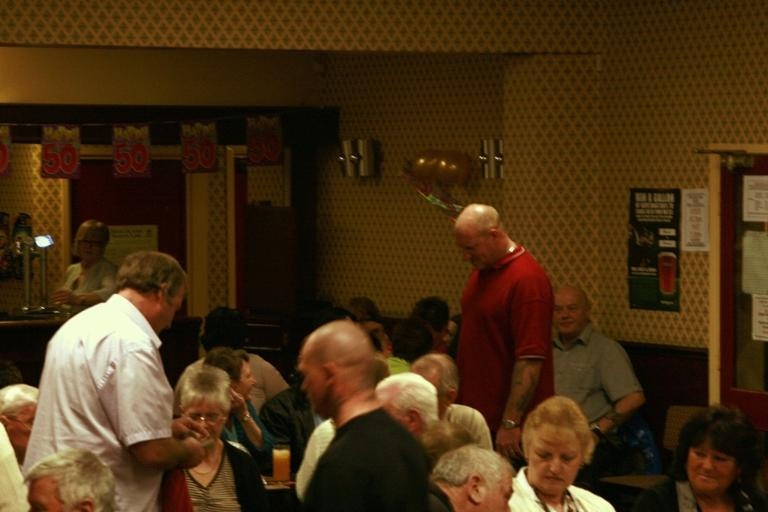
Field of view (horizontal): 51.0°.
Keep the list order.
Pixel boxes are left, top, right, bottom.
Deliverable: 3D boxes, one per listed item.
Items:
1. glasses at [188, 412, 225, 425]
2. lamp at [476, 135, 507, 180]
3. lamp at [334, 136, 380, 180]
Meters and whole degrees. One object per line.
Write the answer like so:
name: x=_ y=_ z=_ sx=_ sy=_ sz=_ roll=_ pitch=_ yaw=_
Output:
glasses: x=-0.991 y=0.894 z=4.436 sx=0.097 sy=0.042 sz=0.111 roll=5 pitch=3 yaw=-6
lamp: x=0.920 y=-0.863 z=7.149 sx=0.240 sy=0.342 sz=0.246 roll=0 pitch=6 yaw=13
lamp: x=-0.232 y=-1.004 z=8.229 sx=0.341 sy=0.343 sz=0.346 roll=3 pitch=12 yaw=38
